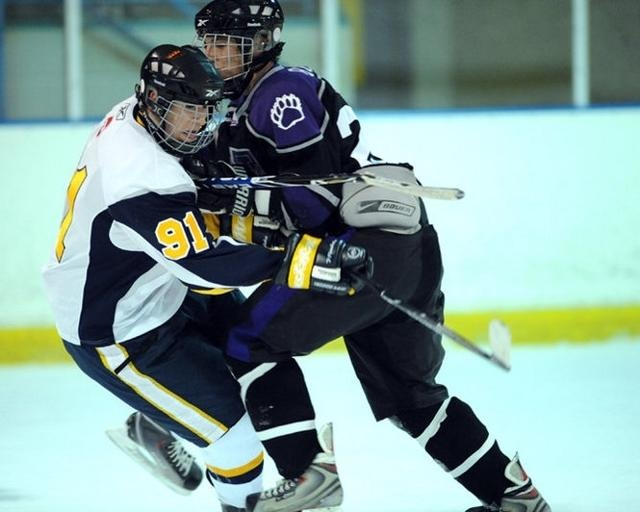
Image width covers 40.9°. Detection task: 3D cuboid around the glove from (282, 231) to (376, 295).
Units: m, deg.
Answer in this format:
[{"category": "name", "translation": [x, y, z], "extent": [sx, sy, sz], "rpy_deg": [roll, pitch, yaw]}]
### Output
[{"category": "glove", "translation": [0.014, 0.030, 2.882], "extent": [0.301, 0.176, 0.129], "rpy_deg": [13, -3, -5]}]

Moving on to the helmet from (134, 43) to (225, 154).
[{"category": "helmet", "translation": [-0.490, -0.546, 3.020], "extent": [0.300, 0.394, 0.154], "rpy_deg": [-5, 11, -11]}]

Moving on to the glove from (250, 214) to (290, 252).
[{"category": "glove", "translation": [-0.191, -0.088, 3.304], "extent": [0.168, 0.073, 0.119], "rpy_deg": [12, -2, -15]}]

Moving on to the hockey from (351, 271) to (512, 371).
[{"category": "hockey", "translation": [0.473, 0.281, 3.566], "extent": [0.157, 0.148, 1.041], "rpy_deg": [22, 5, -44]}]

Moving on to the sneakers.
[{"category": "sneakers", "translation": [-0.624, 0.786, 3.437], "extent": [0.139, 0.419, 0.178], "rpy_deg": [-53, 11, -29]}]

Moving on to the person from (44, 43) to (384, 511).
[{"category": "person", "translation": [-0.518, 0.136, 3.070], "extent": [0.954, 1.752, 0.369], "rpy_deg": [-3, 11, 0]}]
